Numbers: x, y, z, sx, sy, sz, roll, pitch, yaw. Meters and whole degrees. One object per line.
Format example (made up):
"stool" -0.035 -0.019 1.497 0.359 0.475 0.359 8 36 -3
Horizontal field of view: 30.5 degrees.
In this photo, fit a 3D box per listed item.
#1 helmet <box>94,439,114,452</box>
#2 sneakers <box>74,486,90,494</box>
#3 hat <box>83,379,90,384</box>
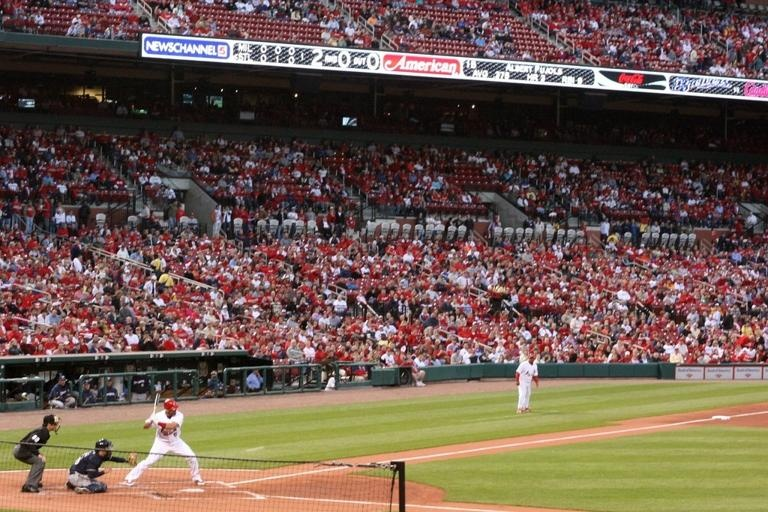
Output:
"helmet" -9.490 6.323 48.370 0.473 0.350 0.542 1 11 -3
"sneakers" -10.155 7.846 48.097 0.505 0.252 0.197 1 9 -5
"hat" -12.041 5.003 57.749 0.231 0.192 0.189 1 -3 1
